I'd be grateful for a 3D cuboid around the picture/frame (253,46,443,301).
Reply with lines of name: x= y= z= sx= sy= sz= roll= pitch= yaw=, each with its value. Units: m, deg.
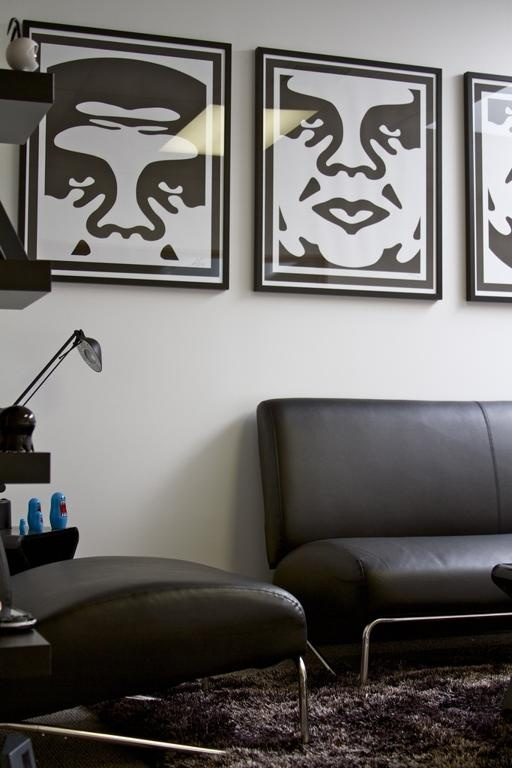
picture/frame: x=0.331 y=-0.816 z=2.653 sx=0.993 sy=1.179 sz=0.041 roll=3 pitch=-8 yaw=-20
